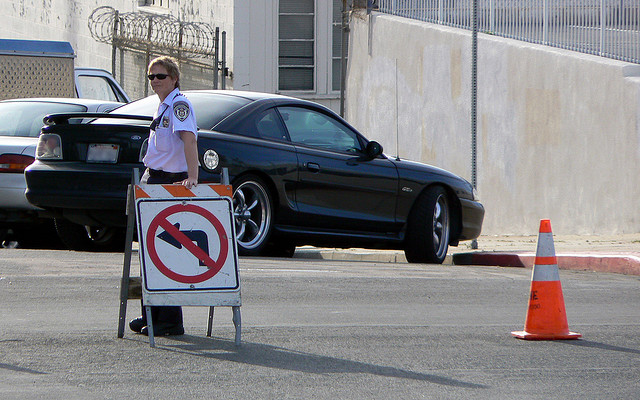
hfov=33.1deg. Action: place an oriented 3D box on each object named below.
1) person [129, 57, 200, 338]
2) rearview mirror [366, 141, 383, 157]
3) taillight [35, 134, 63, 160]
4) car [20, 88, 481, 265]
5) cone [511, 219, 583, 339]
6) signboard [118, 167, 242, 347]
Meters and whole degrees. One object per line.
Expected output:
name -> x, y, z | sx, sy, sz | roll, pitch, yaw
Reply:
person -> -1.688, -0.045, 11.822 | 0.692, 2.964, 0.907 | 0, 10, -7
rearview mirror -> 0.778, -0.721, 15.495 | 0.229, 0.251, 0.282 | 1, 11, 2
taillight -> -3.640, -0.702, 14.462 | 0.530, 0.371, 0.152 | 12, 15, 44
car -> -0.962, -0.289, 15.245 | 4.977, 1.739, 2.739 | 0, 0, -34
cone -> 2.443, 0.883, 11.920 | 0.671, 1.361, 0.612 | 0, 0, 14
signboard -> -1.495, 0.617, 11.449 | 1.298, 1.797, 0.603 | 0, 10, -4
